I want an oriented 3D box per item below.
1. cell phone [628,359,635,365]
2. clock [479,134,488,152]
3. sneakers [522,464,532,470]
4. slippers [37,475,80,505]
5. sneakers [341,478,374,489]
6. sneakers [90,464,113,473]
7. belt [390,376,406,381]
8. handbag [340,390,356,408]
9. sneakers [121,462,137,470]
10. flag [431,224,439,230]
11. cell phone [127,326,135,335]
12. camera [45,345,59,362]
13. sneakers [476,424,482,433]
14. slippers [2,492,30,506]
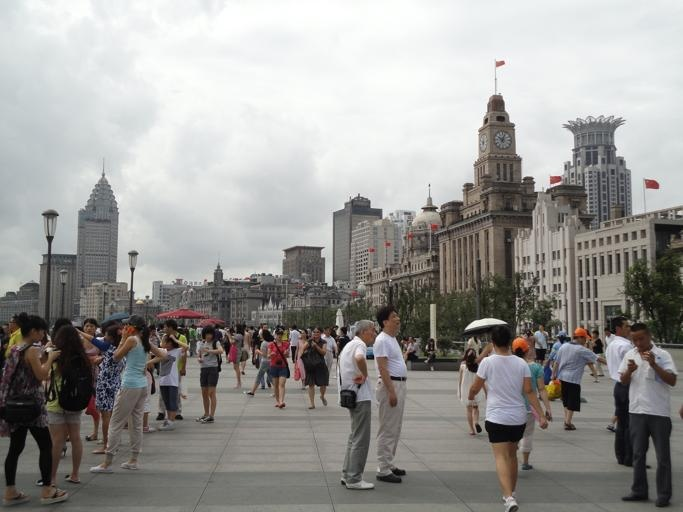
[{"bbox_3d":[4.606,1.677,13.288,0.103,0.116,0.161,-6,-8,39],"label":"cell phone"},{"bbox_3d":[19.779,-15.312,114.287,1.748,1.823,1.793,-2,2,0],"label":"clock"},{"bbox_3d":[3.263,3.666,14.659,0.216,0.090,0.073,2,-5,-28],"label":"sneakers"},{"bbox_3d":[-4.346,3.626,12.877,0.210,0.389,0.542,-6,-8,34],"label":"slippers"},{"bbox_3d":[0.284,3.567,13.353,0.465,0.207,0.187,-1,-2,-1],"label":"sneakers"},{"bbox_3d":[-4.080,3.598,14.284,0.366,0.154,0.148,0,-10,1],"label":"sneakers"},{"bbox_3d":[0.961,2.033,13.965,0.081,0.098,0.327,-7,-9,44],"label":"belt"},{"bbox_3d":[0.123,2.297,13.598,0.244,0.246,0.135,-1,-16,7],"label":"handbag"},{"bbox_3d":[-3.653,3.591,14.437,0.221,0.090,0.114,6,-7,15],"label":"sneakers"},{"bbox_3d":[15.607,-4.569,141.124,0.983,1.310,1.879,0,1,15],"label":"flag"},{"bbox_3d":[-3.692,1.293,14.823,0.107,0.128,0.141,32,9,-26],"label":"cell phone"},{"bbox_3d":[-4.719,1.585,13.733,0.201,0.230,0.400,18,3,-18],"label":"camera"},{"bbox_3d":[2.907,3.637,17.772,0.107,0.218,0.096,-11,28,1],"label":"sneakers"},{"bbox_3d":[-4.917,3.641,12.707,0.370,0.154,0.160,0,0,-24],"label":"slippers"}]
